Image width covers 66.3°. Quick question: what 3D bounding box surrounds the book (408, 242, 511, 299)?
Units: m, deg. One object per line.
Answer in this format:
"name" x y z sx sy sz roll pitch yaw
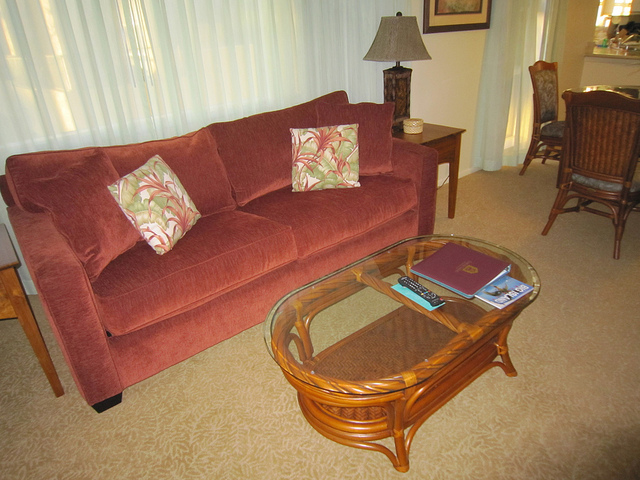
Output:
"book" 0.713 0.143 2.484 0.316 0.042 0.296 -30 39 -35

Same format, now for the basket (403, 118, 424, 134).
"basket" 0.731 -0.883 3.815 0.130 0.075 0.124 -18 31 -28

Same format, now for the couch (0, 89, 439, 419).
"couch" -0.549 -0.068 3.041 2.279 1.185 0.888 -20 33 -29

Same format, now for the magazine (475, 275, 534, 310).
"magazine" 0.903 0.253 2.378 0.209 0.009 0.140 -27 44 -31

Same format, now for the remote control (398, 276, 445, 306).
"remote control" 0.500 0.229 2.404 0.097 0.032 0.216 -25 38 -27
